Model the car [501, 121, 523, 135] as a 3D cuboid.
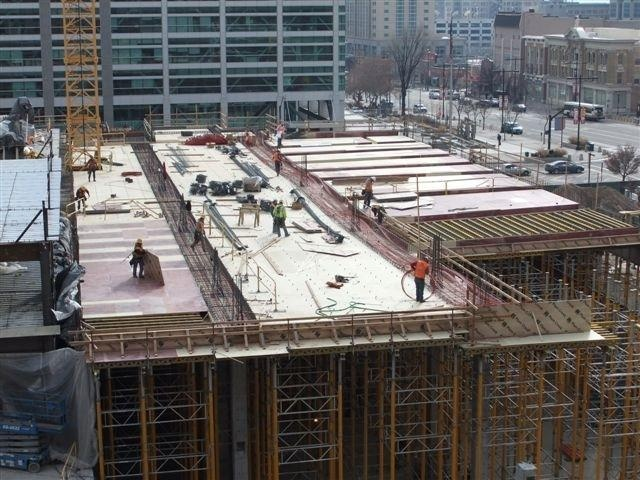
[{"bbox_3d":[30.258,-17.534,210.557,2.127,1.833,3.496,-5,9,-24],"label":"car"}]
